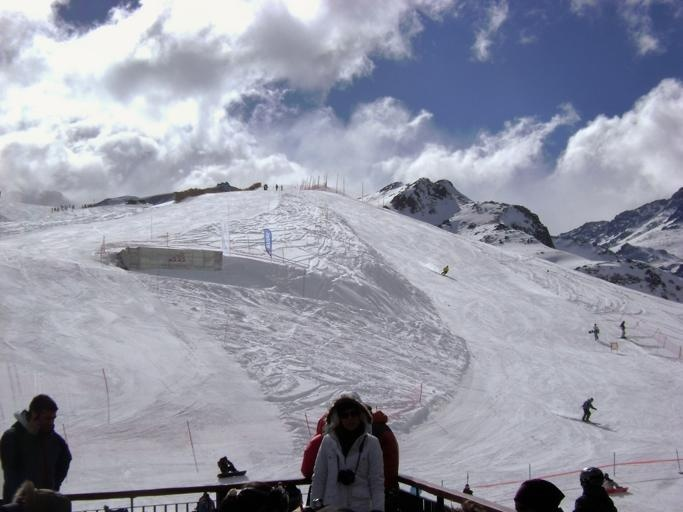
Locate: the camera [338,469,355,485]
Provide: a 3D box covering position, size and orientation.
[{"bbox_3d":[0.141,5.709,18.129,0.345,0.390,0.170,-2,-2,4],"label":"camera"}]
